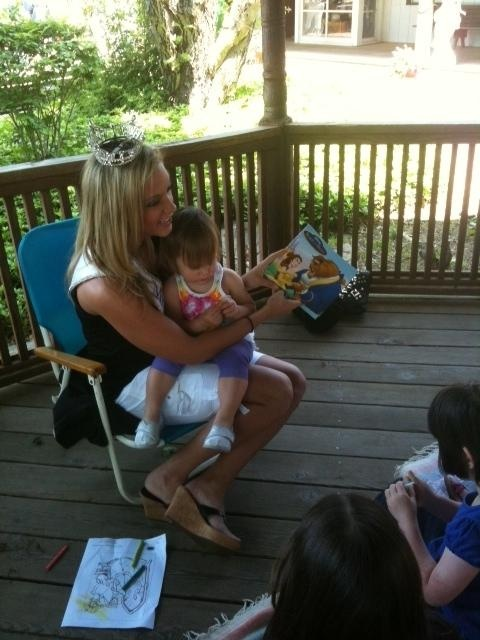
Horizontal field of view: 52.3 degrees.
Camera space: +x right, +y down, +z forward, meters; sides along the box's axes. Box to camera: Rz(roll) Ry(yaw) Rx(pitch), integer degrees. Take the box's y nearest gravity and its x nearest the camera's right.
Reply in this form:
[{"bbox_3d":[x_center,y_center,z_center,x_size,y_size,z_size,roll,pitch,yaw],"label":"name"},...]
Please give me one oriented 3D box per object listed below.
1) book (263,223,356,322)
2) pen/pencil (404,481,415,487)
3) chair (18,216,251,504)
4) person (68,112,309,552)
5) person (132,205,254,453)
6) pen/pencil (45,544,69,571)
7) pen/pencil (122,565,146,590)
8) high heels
[{"bbox_3d":[0.303,-0.195,2.312,0.416,0.436,0.106,-44,4,1],"label":"book"},{"bbox_3d":[0.504,0.483,1.445,0.026,0.010,0.033,-3,10,-1],"label":"pen/pencil"},{"bbox_3d":[-0.580,0.169,1.630,0.487,0.778,0.575,-11,29,37],"label":"chair"},{"bbox_3d":[-0.192,0.051,1.648,0.698,1.266,0.726,8,29,23],"label":"person"},{"bbox_3d":[-0.135,0.002,1.636,0.406,0.683,0.701,-1,23,-2],"label":"person"},{"bbox_3d":[-0.586,0.769,1.603,0.017,0.017,0.128,-13,15,20],"label":"pen/pencil"},{"bbox_3d":[-0.320,0.785,1.492,0.022,0.019,0.077,47,48,13],"label":"pen/pencil"},{"bbox_3d":[-0.169,0.611,1.552,0.345,0.195,0.101,7,29,21],"label":"high heels"}]
